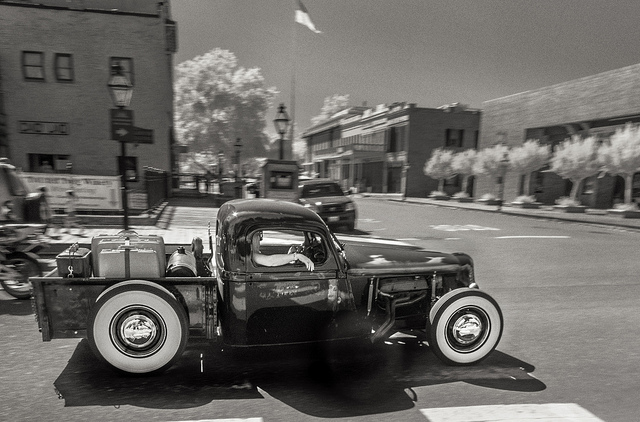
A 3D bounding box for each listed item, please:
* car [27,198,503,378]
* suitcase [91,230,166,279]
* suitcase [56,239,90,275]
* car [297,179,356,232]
[{"bbox_3d":[-0.859,1.264,14.401,10.997,3.130,3.760,-1,6,-6],"label":"car"},{"bbox_3d":[-3.950,0.900,13.238,1.366,0.834,0.953,-3,20,-18],"label":"suitcase"},{"bbox_3d":[-4.965,0.946,12.940,0.820,0.462,0.727,-3,10,-11],"label":"suitcase"},{"bbox_3d":[-0.180,-0.532,25.540,2.206,1.621,3.818,-2,16,-20],"label":"car"}]
